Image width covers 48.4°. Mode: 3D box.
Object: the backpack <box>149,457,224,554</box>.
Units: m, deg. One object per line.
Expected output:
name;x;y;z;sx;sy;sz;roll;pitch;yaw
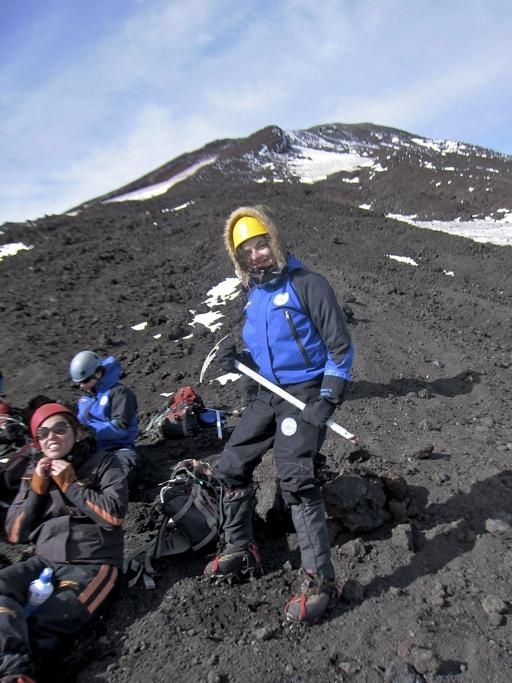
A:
backpack;-0.554;1.382;4.719;0.486;0.671;0.631;-10;46;-17

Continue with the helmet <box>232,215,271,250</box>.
helmet;-0.038;-0.792;4.149;0.196;0.151;0.256;-29;-4;27

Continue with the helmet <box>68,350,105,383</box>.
helmet;-1.927;0.257;6.203;0.296;0.307;0.359;6;61;41

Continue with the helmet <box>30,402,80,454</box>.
helmet;-1.558;0.640;4.397;0.344;0.352;0.192;2;21;-8

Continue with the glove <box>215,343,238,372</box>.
glove;-0.222;0.133;4.423;0.171;0.194;0.068;-3;-10;-6
